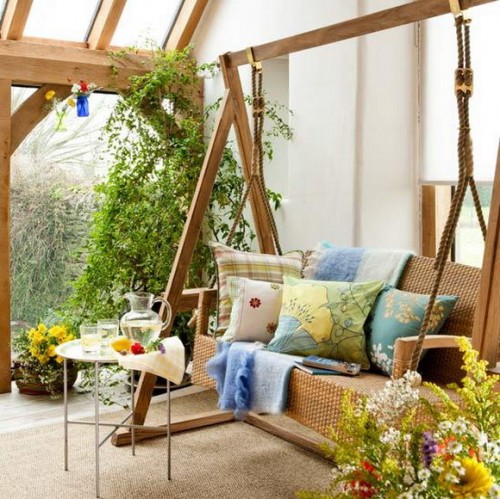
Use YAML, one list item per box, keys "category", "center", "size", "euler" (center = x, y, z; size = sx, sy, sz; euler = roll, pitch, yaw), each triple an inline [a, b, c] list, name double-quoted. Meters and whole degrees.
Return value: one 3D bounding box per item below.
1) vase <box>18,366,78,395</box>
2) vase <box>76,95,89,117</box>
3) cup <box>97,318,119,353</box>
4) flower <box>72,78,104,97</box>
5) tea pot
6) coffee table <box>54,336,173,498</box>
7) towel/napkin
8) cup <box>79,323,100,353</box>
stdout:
- category: "vase"
  center: [-1.371, 0.857, 3.431]
  size: [0.283, 0.109, 0.235]
  euler: [0, -4, 3]
- category: "vase"
  center: [-1.187, -1.010, 3.623]
  size: [0.081, 0.144, 0.101]
  euler: [-2, 2, -18]
- category: "cup"
  center: [-0.609, 0.352, 2.194]
  size: [0.115, 0.126, 0.126]
  euler: [2, -5, -16]
- category: "flower"
  center: [-1.165, -1.115, 3.621]
  size: [0.156, 0.115, 0.173]
  euler: [-24, 14, -34]
- category: "tea pot"
  center: [-0.450, 0.318, 2.334]
  size: [0.282, 0.277, 0.241]
  euler: [4, -7, -21]
- category: "coffee table"
  center: [-0.727, 0.702, 2.401]
  size: [0.698, 0.691, 0.652]
  euler: [2, -5, -16]
- category: "towel/napkin"
  center: [-0.370, 0.455, 2.110]
  size: [0.235, 0.081, 0.226]
  euler: [4, 1, 12]
- category: "cup"
  center: [-0.707, 0.376, 2.210]
  size: [0.068, 0.116, 0.141]
  euler: [-3, 3, -41]
